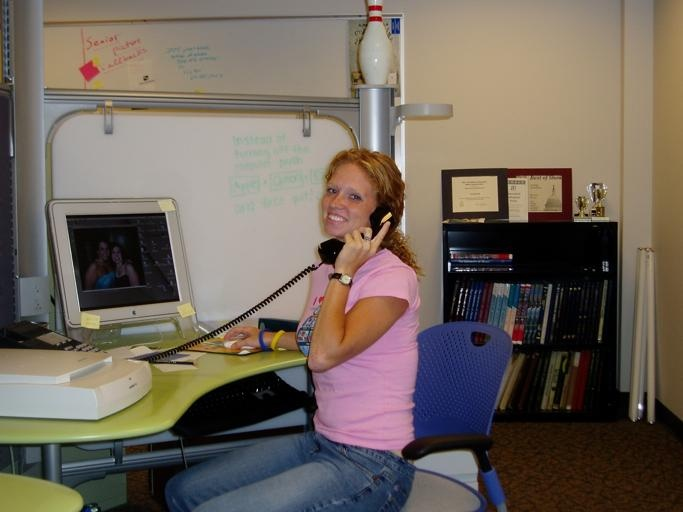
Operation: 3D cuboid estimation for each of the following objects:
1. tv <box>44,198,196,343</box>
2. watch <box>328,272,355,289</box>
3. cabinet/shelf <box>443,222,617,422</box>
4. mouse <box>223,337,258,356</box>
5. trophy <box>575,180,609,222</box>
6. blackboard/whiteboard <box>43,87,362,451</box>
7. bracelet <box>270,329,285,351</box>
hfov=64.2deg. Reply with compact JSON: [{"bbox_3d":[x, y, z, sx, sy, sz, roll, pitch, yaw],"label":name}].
[{"bbox_3d":[-0.923,0.054,2.221,0.476,0.572,0.138,-11,-11,-31],"label":"tv"},{"bbox_3d":[-0.001,0.071,1.738,0.064,0.044,0.061,17,-16,-19],"label":"watch"},{"bbox_3d":[1.252,0.454,3.533,1.286,1.512,0.480,0,0,4],"label":"cabinet/shelf"},{"bbox_3d":[-0.413,0.352,2.134,0.078,0.022,0.065,5,25,12],"label":"mouse"},{"bbox_3d":[1.790,-0.400,3.919,0.225,0.263,0.431,1,8,24],"label":"trophy"},{"bbox_3d":[-0.614,0.026,2.236,1.587,1.727,0.179,-3,4,-18],"label":"blackboard/whiteboard"},{"bbox_3d":[-0.255,0.323,2.112,0.045,0.080,0.072,10,-4,7],"label":"bracelet"}]
